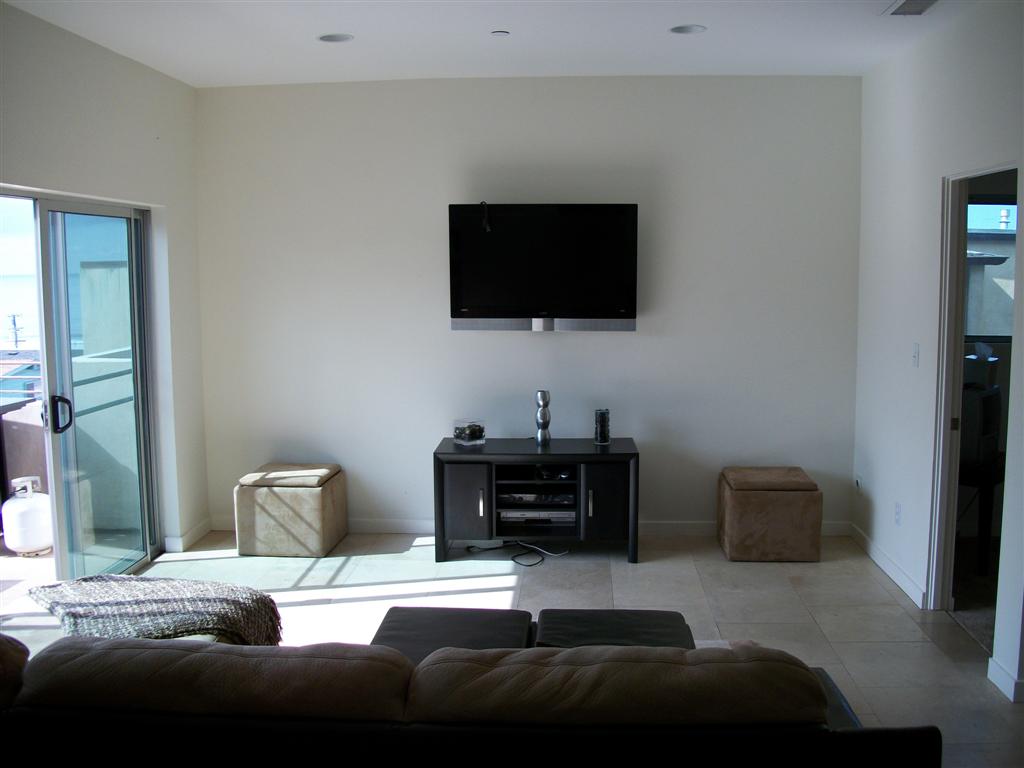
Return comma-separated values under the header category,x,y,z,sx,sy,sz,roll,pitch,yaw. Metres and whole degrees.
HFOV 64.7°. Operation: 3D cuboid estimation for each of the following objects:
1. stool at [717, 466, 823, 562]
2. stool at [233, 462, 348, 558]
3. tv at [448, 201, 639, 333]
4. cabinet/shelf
category,x,y,z,sx,sy,sz,roll,pitch,yaw
stool,1.733,0.860,5.622,0.631,0.533,0.623,1,4,3
stool,-1.577,0.893,5.869,0.697,0.524,0.700,1,5,11
tv,0.233,-0.833,5.580,0.937,0.609,0.100,-1,9,3
cabinet/shelf,0.150,0.839,5.631,1.359,0.745,0.492,0,0,-3
